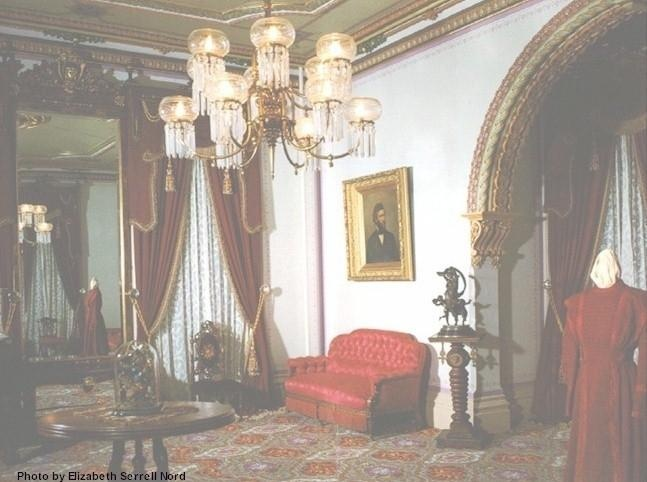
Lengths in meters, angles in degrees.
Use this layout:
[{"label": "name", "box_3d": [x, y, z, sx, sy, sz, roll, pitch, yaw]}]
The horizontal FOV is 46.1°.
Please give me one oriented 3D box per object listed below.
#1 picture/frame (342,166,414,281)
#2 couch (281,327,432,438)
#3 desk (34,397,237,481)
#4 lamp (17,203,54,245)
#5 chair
[{"label": "picture/frame", "box_3d": [0.722, -0.217, 9.644, 0.112, 1.494, 1.416, -1, -4, -31]}, {"label": "couch", "box_3d": [0.335, 1.677, 9.458, 1.012, 1.078, 1.884, 1, -2, -33]}, {"label": "desk", "box_3d": [-1.584, 1.775, 6.496, 1.642, 0.654, 0.802, -1, 8, 1]}, {"label": "lamp", "box_3d": [-3.419, -0.186, 8.955, 0.441, 0.536, 0.206, 6, -11, -43]}, {"label": "chair", "box_3d": [-1.377, 1.615, 9.812, 0.630, 1.149, 0.357, -3, 9, -8]}]
